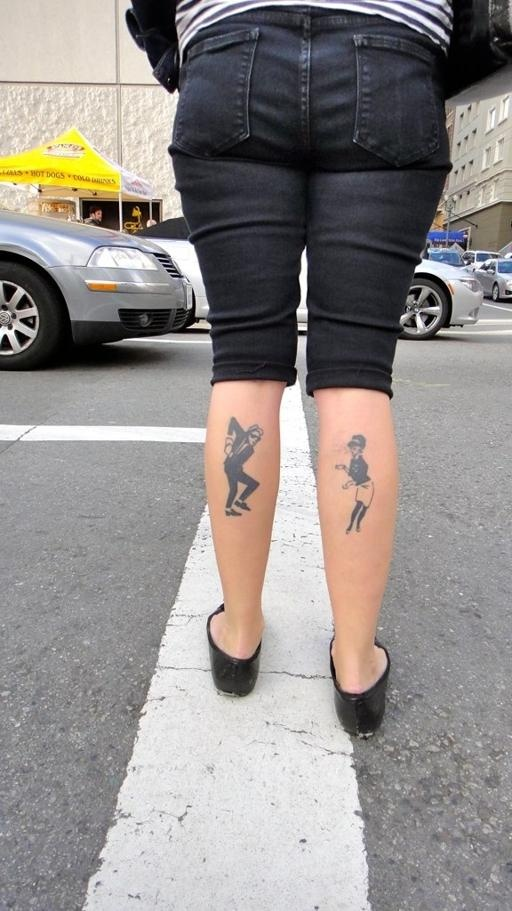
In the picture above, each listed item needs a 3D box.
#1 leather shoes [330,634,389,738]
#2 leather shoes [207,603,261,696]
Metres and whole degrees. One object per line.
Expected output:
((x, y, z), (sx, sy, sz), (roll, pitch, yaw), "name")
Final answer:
((0.190, 0.396, 1.153), (0.105, 0.108, 0.257), (-7, 21, 8), "leather shoes")
((-0.046, 0.346, 1.259), (0.109, 0.091, 0.272), (-2, 34, 1), "leather shoes")
